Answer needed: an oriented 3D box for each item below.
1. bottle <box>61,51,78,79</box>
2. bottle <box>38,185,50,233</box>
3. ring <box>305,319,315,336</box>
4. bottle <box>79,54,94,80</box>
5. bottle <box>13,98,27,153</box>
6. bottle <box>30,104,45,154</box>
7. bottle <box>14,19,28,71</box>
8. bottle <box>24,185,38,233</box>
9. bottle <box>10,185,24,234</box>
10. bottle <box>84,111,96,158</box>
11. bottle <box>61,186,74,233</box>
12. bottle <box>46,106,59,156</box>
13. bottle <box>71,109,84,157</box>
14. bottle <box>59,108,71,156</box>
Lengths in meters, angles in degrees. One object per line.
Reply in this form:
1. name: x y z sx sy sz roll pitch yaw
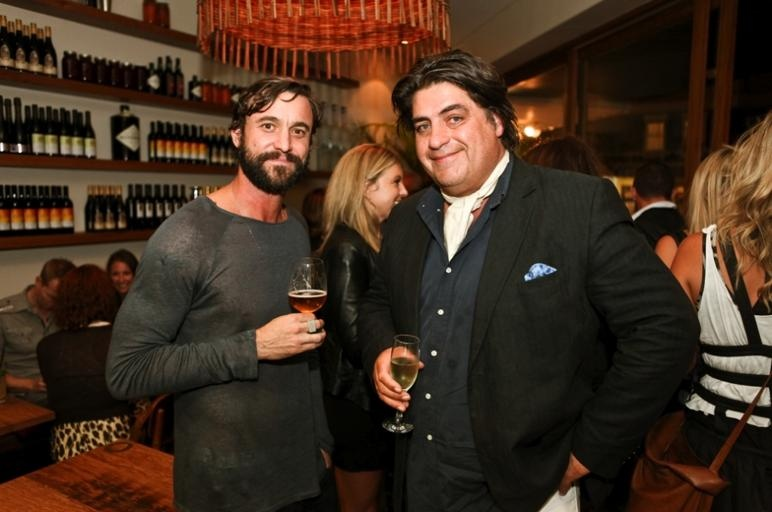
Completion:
1. bottle: -2.278 -1.388 4.527 0.120 0.211 0.097 -6 6 -27
2. bottle: -2.481 -0.346 4.526 0.087 0.327 0.156 -6 6 -29
3. ring: -0.325 0.314 2.727 0.047 0.046 0.013 -2 -2 -44
4. bottle: -2.205 -1.405 4.652 0.077 0.201 0.166 -3 5 -1
5. bottle: -2.575 -0.912 4.396 0.089 0.391 0.250 -6 6 -29
6. bottle: -2.479 -0.900 4.450 0.093 0.355 0.205 -6 6 -28
7. bottle: -2.519 -1.458 4.319 0.092 0.322 0.184 -6 6 -27
8. bottle: -2.532 -0.338 4.459 0.086 0.327 0.173 -5 6 -24
9. bottle: -2.587 -0.332 4.376 0.081 0.322 0.096 -6 6 -30
10. bottle: -2.240 -0.920 4.731 0.086 0.364 0.257 -5 6 -23
11. bottle: -2.394 -0.358 4.709 0.068 0.345 0.269 -5 6 -22
12. bottle: -2.405 -0.900 4.513 0.086 0.344 0.206 -5 6 -26
13. bottle: -2.294 -0.919 4.659 0.092 0.358 0.199 -5 6 -24
14. bottle: -2.350 -0.903 4.588 0.077 0.337 0.231 -5 6 -23
